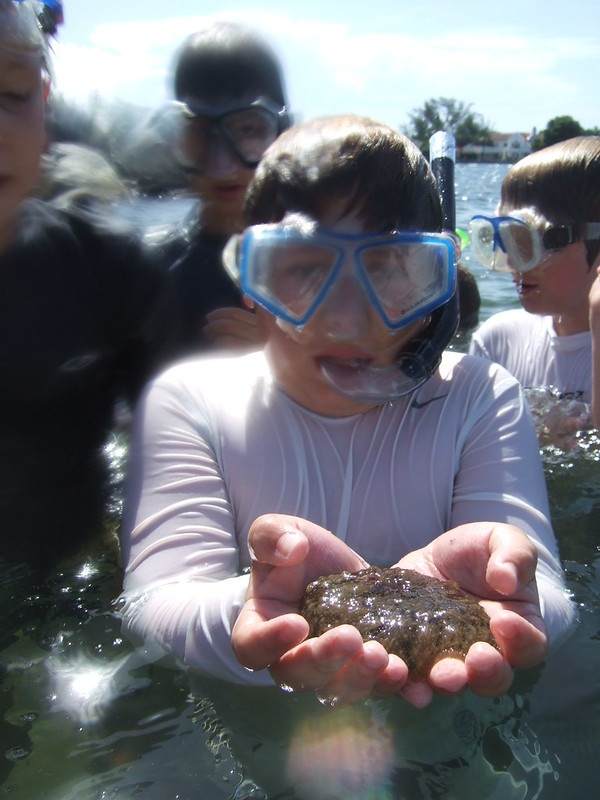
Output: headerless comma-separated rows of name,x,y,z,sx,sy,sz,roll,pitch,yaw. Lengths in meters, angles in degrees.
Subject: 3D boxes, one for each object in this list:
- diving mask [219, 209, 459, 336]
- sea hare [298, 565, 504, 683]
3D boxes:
diving mask,0.091,-0.275,1.558,0.418,0.262,0.285,2,15,-1
sea hare,0.181,0.388,1.301,0.363,0.097,0.255,5,17,22
